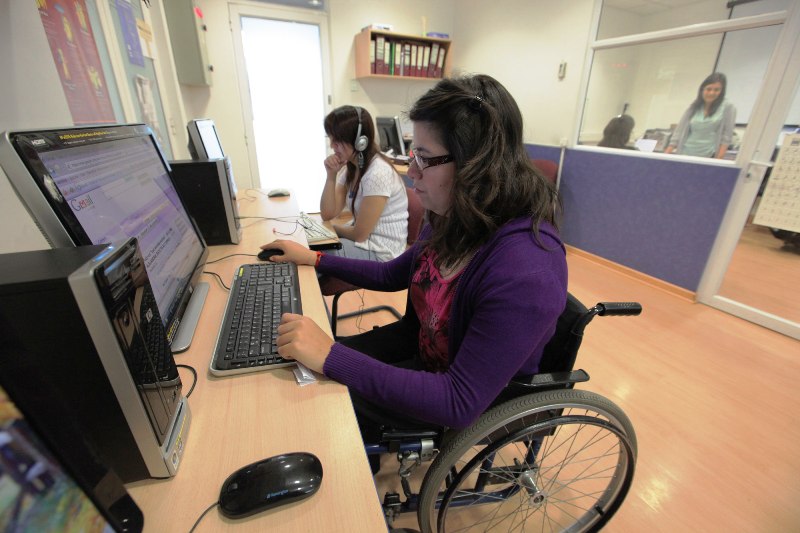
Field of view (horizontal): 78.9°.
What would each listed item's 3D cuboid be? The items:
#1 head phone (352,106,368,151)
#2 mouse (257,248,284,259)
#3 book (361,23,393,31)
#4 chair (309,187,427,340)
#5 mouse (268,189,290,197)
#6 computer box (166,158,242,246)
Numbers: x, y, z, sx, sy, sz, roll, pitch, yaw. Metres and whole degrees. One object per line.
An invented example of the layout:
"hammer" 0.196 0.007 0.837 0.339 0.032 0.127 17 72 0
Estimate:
"head phone" -0.231 -0.772 2.740 0.067 0.185 0.173 -6 29 0
"mouse" -0.581 -0.060 2.161 0.096 0.026 0.056 -13 23 -24
"book" -0.240 -2.347 4.781 0.290 0.066 0.296 0 25 -3
"chair" -0.323 -0.027 2.507 0.503 0.516 0.736 7 55 -51
"mouse" -0.779 -0.468 3.081 0.106 0.035 0.062 -6 19 -23
"computer box" -0.856 -0.330 2.330 0.372 0.489 0.270 -5 22 -11
